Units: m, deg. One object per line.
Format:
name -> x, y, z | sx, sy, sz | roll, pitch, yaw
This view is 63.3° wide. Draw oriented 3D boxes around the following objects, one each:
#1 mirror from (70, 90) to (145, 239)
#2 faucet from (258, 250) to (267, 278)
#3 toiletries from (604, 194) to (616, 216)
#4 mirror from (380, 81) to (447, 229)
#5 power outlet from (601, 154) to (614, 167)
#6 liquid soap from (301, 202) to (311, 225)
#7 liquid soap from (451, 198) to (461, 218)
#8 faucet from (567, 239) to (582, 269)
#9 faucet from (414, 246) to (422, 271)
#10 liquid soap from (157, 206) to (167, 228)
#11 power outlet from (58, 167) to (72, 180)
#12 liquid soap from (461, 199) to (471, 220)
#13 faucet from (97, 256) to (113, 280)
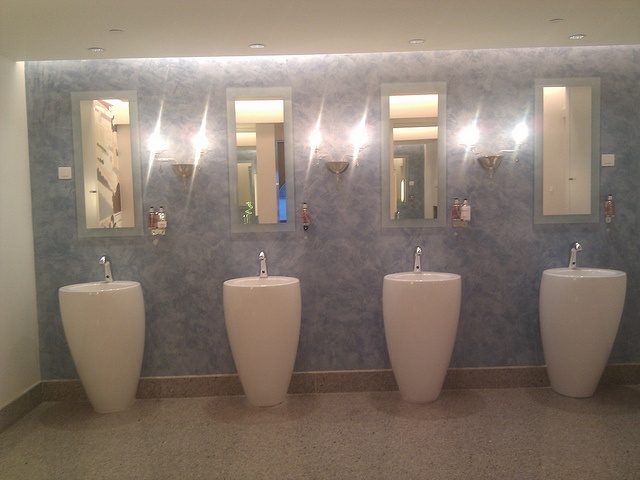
mirror -> -1.879, -0.664, 4.606 | 0.568, 1.252, 0.170 | -2, 10, -1
faucet -> -0.511, 0.221, 4.626 | 0.077, 0.227, 0.094 | -3, 10, -8
toiletries -> 2.573, -0.301, 4.624 | 0.092, 0.200, 0.064 | -3, 10, -4
mirror -> 0.827, -0.749, 4.610 | 0.557, 1.256, 0.228 | -1, 10, 7
power outlet -> 2.552, -0.709, 4.625 | 0.095, 0.092, 0.045 | 1, 8, 8
liquid soap -> -0.131, -0.227, 4.613 | 0.075, 0.198, 0.098 | 0, 10, 10
liquid soap -> 1.210, -0.276, 4.630 | 0.070, 0.184, 0.076 | 0, 10, 9
faucet -> 2.257, 0.138, 4.615 | 0.105, 0.233, 0.172 | 3, 11, 27
faucet -> 0.864, 0.174, 4.623 | 0.079, 0.217, 0.117 | -1, 10, 9
liquid soap -> -1.404, -0.195, 4.614 | 0.083, 0.199, 0.090 | -4, 10, -13
power outlet -> -2.259, -0.587, 4.606 | 0.119, 0.107, 0.031 | -1, 10, 5
liquid soap -> 1.292, -0.254, 4.621 | 0.079, 0.202, 0.124 | 1, 10, 19
faucet -> -1.889, 0.258, 4.588 | 0.096, 0.228, 0.074 | -6, 10, -23
